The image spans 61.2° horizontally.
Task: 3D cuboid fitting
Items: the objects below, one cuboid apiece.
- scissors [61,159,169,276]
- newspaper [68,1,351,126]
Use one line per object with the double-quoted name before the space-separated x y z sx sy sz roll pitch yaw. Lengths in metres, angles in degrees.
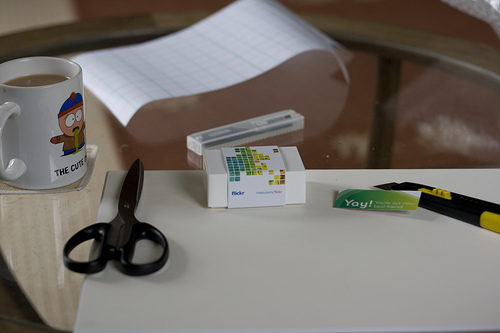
"scissors" -0.160 0.057 0.545 0.115 0.024 0.212 2 32 -7
"newspaper" -0.076 -0.226 0.858 0.469 0.112 0.265 -24 46 -17
